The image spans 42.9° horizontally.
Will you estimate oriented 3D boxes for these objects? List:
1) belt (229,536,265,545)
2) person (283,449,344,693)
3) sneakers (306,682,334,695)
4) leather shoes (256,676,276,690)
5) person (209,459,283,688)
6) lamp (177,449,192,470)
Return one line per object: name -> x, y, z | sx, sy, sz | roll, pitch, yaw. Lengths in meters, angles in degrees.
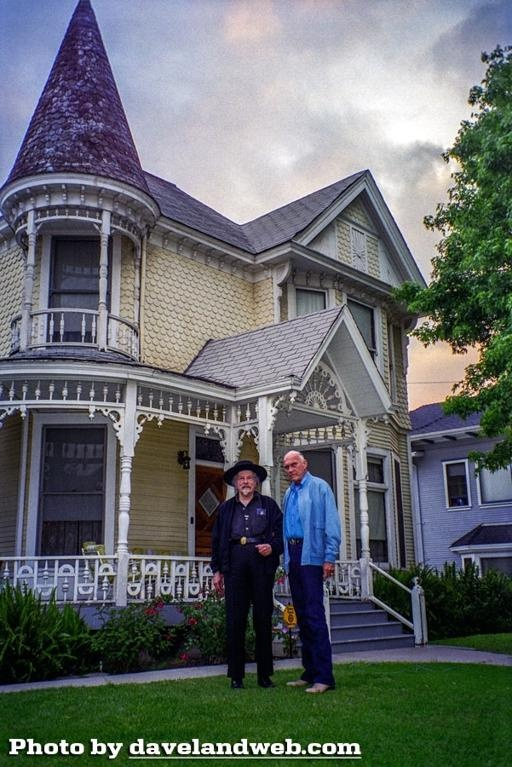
belt -> -0.070, 1.254, 5.207 | 0.252, 0.068, 0.074 | -2, -13, -3
person -> 0.457, 1.495, 5.109 | 0.412, 1.647, 0.677 | 0, -13, -7
sneakers -> 0.465, 2.183, 4.665 | 0.181, 0.077, 0.092 | 28, -33, -32
leather shoes -> 0.074, 2.297, 5.016 | 0.056, 0.116, 0.169 | 15, -29, -37
person -> -0.067, 1.479, 5.250 | 0.597, 1.738, 0.465 | -2, -13, -2
lamp -> -1.360, 1.421, 12.279 | 0.114, 0.343, 0.241 | -4, 2, 16
